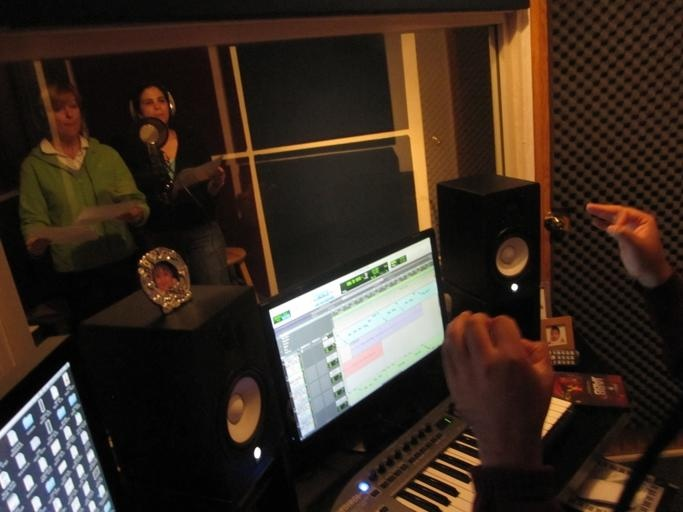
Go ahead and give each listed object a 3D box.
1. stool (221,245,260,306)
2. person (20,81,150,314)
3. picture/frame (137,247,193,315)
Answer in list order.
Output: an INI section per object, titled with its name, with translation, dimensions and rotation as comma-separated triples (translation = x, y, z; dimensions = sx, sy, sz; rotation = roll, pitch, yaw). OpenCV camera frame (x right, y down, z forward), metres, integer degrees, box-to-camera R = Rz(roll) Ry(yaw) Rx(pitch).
[stool]
translation = -0.367, 0.058, 2.083
dimensions = 0.108, 0.182, 0.126
rotation = -6, 52, -6
[person]
translation = -0.887, -0.193, 1.981
dimensions = 0.116, 0.765, 0.427
rotation = 5, 25, 34
[picture/frame]
translation = -0.452, 0.070, 1.464
dimensions = 0.019, 0.141, 0.114
rotation = -22, 12, 40
